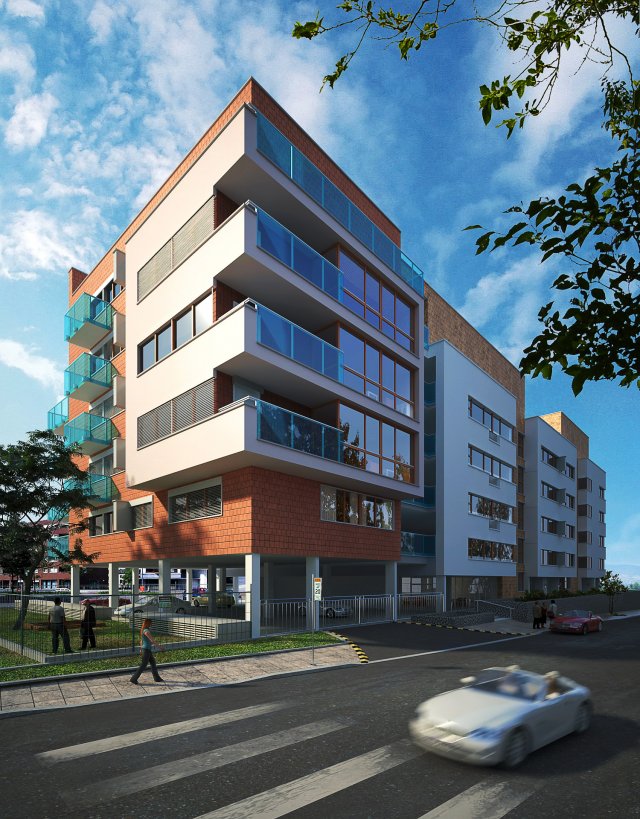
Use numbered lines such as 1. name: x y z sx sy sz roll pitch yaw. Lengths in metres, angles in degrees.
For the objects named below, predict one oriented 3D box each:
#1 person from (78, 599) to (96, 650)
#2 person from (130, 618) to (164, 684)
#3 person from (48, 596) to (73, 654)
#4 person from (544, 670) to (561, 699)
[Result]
1. person: -5.732 5.356 19.988 0.362 1.233 2.631 3 -17 -16
2. person: -3.636 5.074 16.972 0.627 1.310 2.698 2 -16 -12
3. person: -6.194 5.175 19.222 0.567 1.281 2.297 4 -17 -18
4. person: 3.342 3.961 11.516 0.208 0.279 1.031 -6 -17 15
